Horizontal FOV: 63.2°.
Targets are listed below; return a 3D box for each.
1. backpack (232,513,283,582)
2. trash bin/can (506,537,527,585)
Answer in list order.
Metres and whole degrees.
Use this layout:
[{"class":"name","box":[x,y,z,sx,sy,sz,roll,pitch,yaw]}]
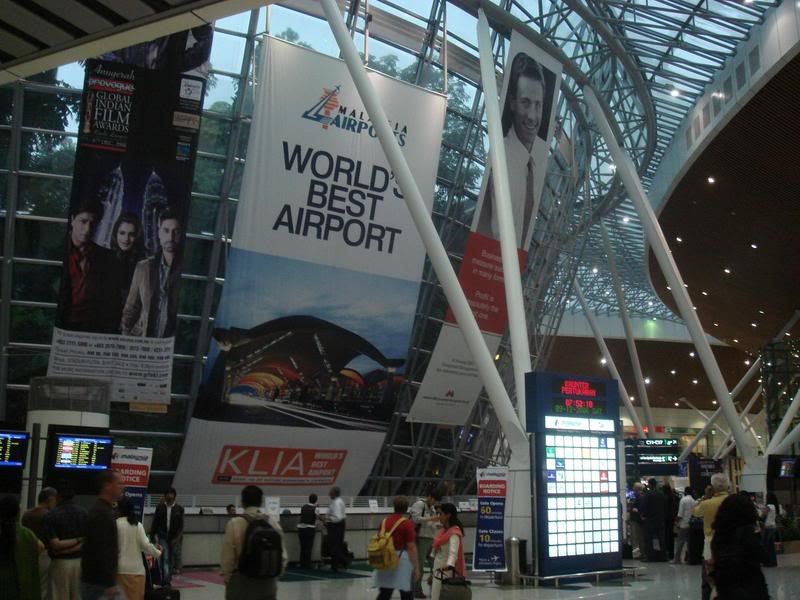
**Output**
[{"class":"backpack","box":[-1.492,2.632,6.970,0.474,0.613,0.243,7,-13,-11]},{"class":"trash bin/can","box":[2.486,5.572,13.862,0.409,0.896,0.198,2,-13,9]}]
